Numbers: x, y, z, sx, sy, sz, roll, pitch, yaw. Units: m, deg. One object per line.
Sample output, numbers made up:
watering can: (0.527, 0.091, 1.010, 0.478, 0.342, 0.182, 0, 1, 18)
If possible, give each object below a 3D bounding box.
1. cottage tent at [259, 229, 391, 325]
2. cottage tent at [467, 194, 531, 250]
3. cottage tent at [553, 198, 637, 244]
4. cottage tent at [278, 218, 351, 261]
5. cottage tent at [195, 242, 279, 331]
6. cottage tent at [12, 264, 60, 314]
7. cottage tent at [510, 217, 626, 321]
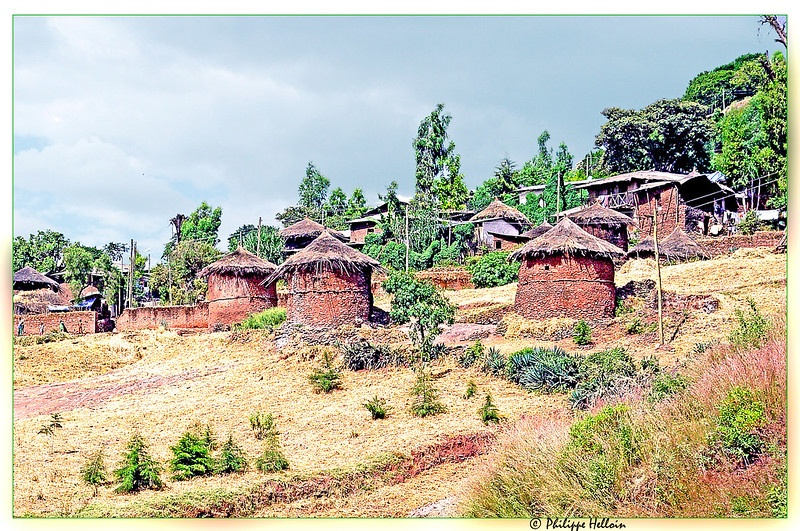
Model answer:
cottage tent: (-3.102, 0.770, 33.446, 3.853, 3.211, 3.743, 4, 5, 43)
cottage tent: (7.090, -3.088, 54.404, 3.546, 2.894, 3.755, 0, 0, -1)
cottage tent: (11.848, -2.459, 44.033, 3.694, 2.480, 3.498, 0, -1, 20)
cottage tent: (-5.683, -1.699, 48.962, 3.481, 1.858, 3.613, 0, -2, -3)
cottage tent: (-8.486, 1.166, 40.279, 3.836, 3.573, 3.990, -1, 2, 2)
cottage tent: (-22.209, 1.648, 45.566, 3.086, 2.255, 3.185, 0, 2, 41)
cottage tent: (7.003, 0.319, 32.424, 3.892, 3.991, 3.997, 1, -4, -10)
